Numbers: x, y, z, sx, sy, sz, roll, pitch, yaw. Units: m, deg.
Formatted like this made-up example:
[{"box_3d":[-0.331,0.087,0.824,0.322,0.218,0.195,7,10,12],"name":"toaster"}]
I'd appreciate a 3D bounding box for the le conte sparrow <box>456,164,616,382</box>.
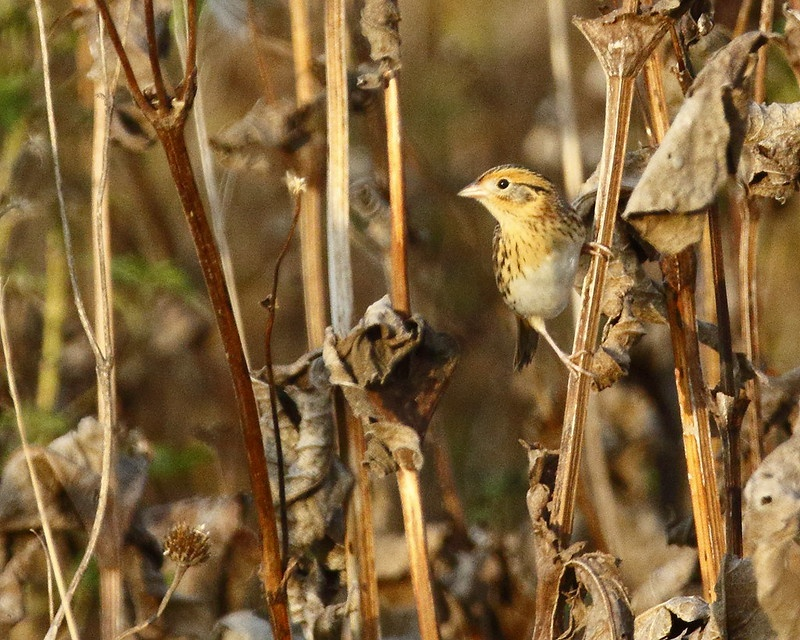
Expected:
[{"box_3d":[0.349,-0.123,4.582,0.222,0.487,0.522,-22,-19,3],"name":"le conte sparrow"}]
